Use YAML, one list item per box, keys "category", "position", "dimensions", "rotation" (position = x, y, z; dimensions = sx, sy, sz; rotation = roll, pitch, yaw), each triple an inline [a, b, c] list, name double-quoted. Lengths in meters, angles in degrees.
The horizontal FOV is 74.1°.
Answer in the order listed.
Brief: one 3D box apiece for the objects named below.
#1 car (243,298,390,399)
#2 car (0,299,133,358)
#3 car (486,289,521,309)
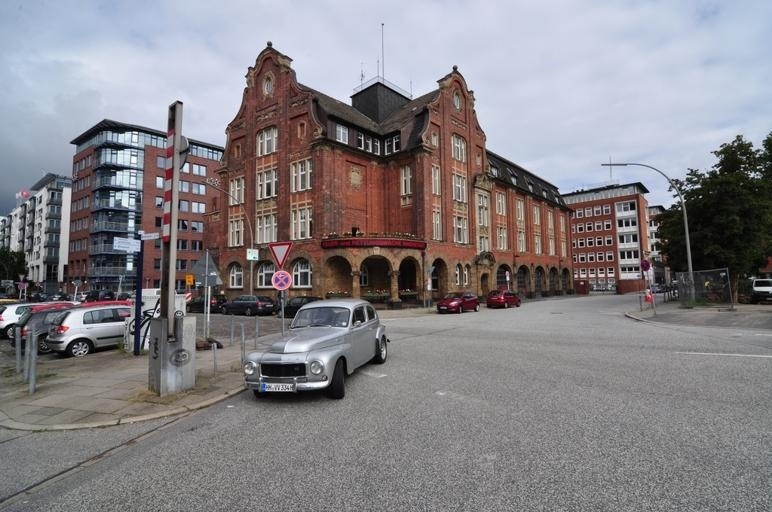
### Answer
- category: "car"
  position: [-1.703, 2.522, 13.248]
  dimensions: [2.097, 2.100, 3.788]
  rotation: [3, 12, 23]
- category: "car"
  position: [-10.972, 2.778, 18.548]
  dimensions: [3.035, 1.768, 2.484]
  rotation: [-8, 12, -27]
- category: "car"
  position: [8.749, 3.366, 38.355]
  dimensions: [2.805, 1.318, 1.551]
  rotation: [-10, 14, -36]
